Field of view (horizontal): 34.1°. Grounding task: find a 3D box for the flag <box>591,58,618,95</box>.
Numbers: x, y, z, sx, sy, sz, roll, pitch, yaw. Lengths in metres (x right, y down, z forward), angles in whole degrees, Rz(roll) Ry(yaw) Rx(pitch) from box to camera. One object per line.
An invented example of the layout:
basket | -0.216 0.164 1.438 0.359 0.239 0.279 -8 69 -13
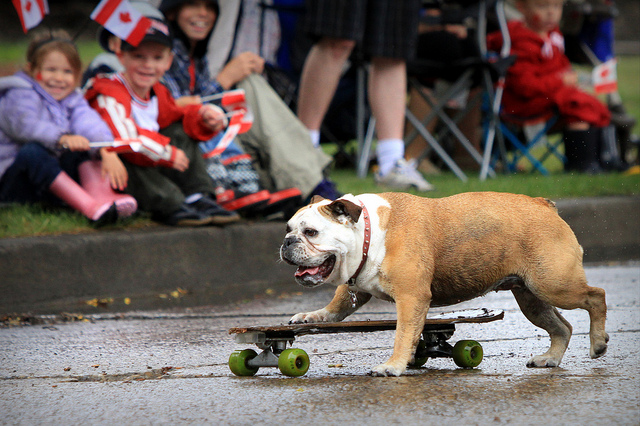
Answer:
flag | 2.770 -1.323 10.114 0.229 0.316 0.284 4 13 17

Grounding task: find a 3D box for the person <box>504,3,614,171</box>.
person | 2.178 -1.042 9.628 1.111 1.421 0.602 -1 12 -4

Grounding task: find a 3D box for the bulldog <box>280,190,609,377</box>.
bulldog | 0.788 0.401 6.216 1.995 0.977 0.656 1 -5 -11
